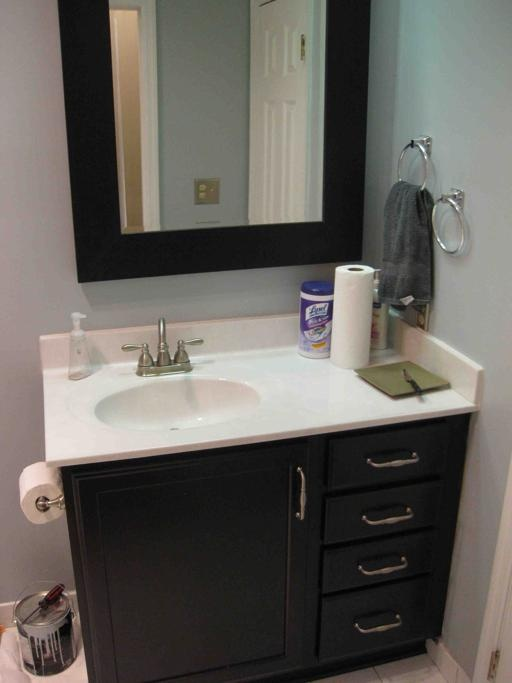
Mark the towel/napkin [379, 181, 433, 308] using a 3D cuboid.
[{"bbox_3d":[0.351,-0.224,1.360,0.099,0.299,0.139,-9,19,-22],"label":"towel/napkin"}]

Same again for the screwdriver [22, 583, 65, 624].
[{"bbox_3d":[-0.560,0.697,1.540,0.035,0.041,0.155,13,24,23],"label":"screwdriver"}]

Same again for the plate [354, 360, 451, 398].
[{"bbox_3d":[0.345,0.084,1.356,0.162,0.031,0.184,-9,19,-20],"label":"plate"}]

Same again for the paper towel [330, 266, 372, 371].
[{"bbox_3d":[0.247,-0.061,1.442,0.101,0.252,0.104,5,17,14],"label":"paper towel"}]

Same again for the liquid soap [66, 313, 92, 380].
[{"bbox_3d":[-0.429,0.010,1.355,0.055,0.163,0.064,-8,18,-17],"label":"liquid soap"}]

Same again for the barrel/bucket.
[{"bbox_3d":[-0.575,0.745,1.607,0.225,0.199,0.181,-5,16,-20],"label":"barrel/bucket"}]
